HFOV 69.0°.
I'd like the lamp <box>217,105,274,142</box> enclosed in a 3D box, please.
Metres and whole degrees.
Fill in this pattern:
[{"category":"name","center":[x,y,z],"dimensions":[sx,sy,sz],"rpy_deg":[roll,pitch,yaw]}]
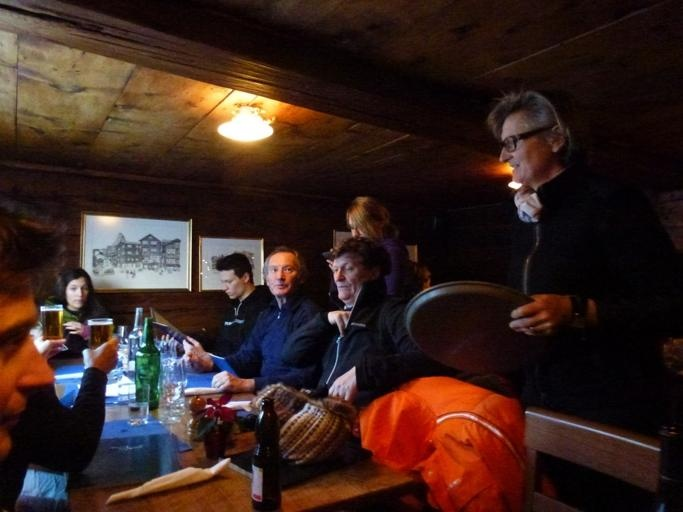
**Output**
[{"category":"lamp","center":[-0.551,-0.764,2.865],"dimensions":[0.292,0.150,0.288],"rpy_deg":[0,5,-7]}]

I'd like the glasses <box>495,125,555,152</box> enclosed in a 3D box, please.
[{"category":"glasses","center":[0.575,-0.367,1.538],"dimensions":[0.101,0.021,0.086],"rpy_deg":[-11,-6,-8]}]

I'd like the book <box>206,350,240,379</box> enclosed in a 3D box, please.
[{"category":"book","center":[-0.702,0.649,2.913],"dimensions":[0.103,0.052,0.571],"rpy_deg":[18,-1,-22]}]

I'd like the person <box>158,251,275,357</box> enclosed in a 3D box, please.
[{"category":"person","center":[-1.047,0.395,4.047],"dimensions":[0.698,0.868,0.710],"rpy_deg":[23,-30,-27]}]

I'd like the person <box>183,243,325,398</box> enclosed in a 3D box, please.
[{"category":"person","center":[-0.375,0.399,2.967],"dimensions":[0.915,0.812,1.078],"rpy_deg":[10,-24,-18]}]

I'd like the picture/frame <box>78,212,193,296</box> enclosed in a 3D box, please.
[{"category":"picture/frame","center":[-1.833,-0.019,4.320],"dimensions":[0.966,0.554,0.035],"rpy_deg":[2,-4,-36]}]

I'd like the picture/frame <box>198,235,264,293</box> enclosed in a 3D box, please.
[{"category":"picture/frame","center":[-1.048,0.073,4.553],"dimensions":[0.730,0.441,0.029],"rpy_deg":[-2,-1,-25]}]

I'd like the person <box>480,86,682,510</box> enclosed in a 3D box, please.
[{"category":"person","center":[0.691,0.008,1.476],"dimensions":[0.385,1.033,0.526],"rpy_deg":[0,6,1]}]

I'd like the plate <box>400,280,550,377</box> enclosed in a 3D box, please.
[{"category":"plate","center":[0.355,0.192,1.305],"dimensions":[0.325,0.291,0.348],"rpy_deg":[2,5,22]}]
